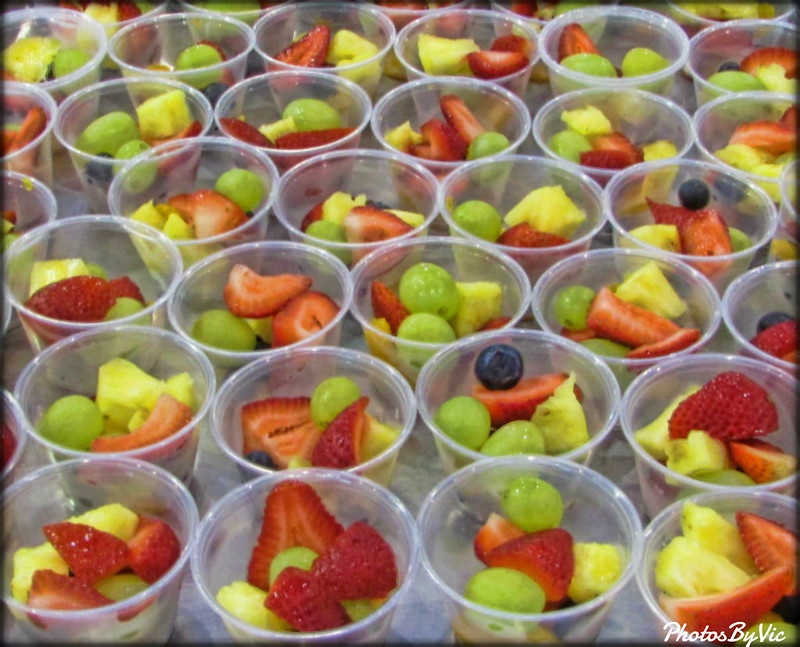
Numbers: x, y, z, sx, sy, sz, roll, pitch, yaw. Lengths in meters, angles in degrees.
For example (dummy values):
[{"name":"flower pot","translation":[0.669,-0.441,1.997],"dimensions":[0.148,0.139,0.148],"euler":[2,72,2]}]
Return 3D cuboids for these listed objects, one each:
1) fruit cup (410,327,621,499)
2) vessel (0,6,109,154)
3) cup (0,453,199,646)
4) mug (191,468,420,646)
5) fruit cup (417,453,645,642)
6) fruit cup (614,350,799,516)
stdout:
[{"name":"fruit cup","translation":[0.234,0.137,1.747],"dimensions":[0.361,0.183,0.361],"euler":[-4,50,5]},{"name":"vessel","translation":[-1.105,-0.768,2.677],"dimensions":[0.336,0.268,0.363],"euler":[8,54,-4]},{"name":"cup","translation":[-0.546,0.424,1.507],"dimensions":[0.364,0.239,0.338],"euler":[-2,58,3]},{"name":"mug","translation":[-0.168,0.414,1.459],"dimensions":[0.401,0.156,0.331],"euler":[7,59,8]},{"name":"fruit cup","translation":[0.239,0.407,1.483],"dimensions":[0.400,0.170,0.342],"euler":[-9,58,-2]},{"name":"fruit cup","translation":[0.665,0.267,1.753],"dimensions":[0.326,0.217,0.337],"euler":[-10,49,12]}]
